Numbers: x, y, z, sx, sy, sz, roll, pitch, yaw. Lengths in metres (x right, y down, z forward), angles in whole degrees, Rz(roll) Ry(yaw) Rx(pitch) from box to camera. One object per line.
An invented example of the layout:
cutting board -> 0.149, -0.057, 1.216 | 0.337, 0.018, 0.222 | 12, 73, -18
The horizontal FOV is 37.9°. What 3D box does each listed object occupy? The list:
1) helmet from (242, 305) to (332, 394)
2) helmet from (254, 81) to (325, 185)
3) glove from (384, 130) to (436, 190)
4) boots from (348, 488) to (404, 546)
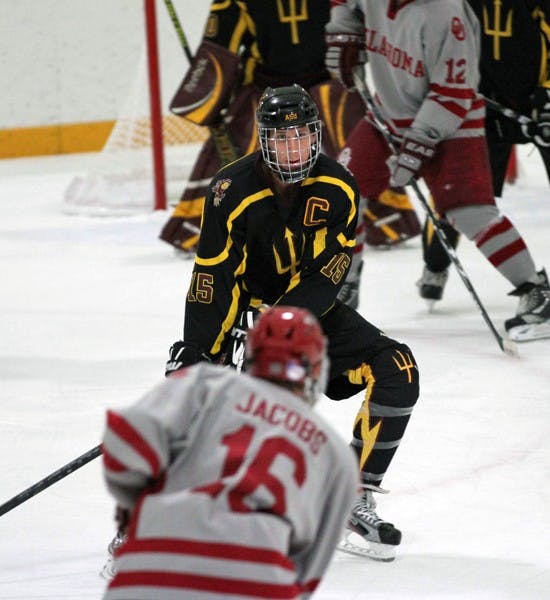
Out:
helmet -> 0.017, 0.100, 1.215 | 0.118, 0.191, 0.137 | 2, 27, 2
helmet -> 0.030, -0.391, 1.895 | 0.152, 0.222, 0.215 | 2, 26, 1
glove -> 0.462, -0.508, 2.992 | 0.215, 0.131, 0.083 | -24, -5, -41
boots -> 0.224, 0.513, 1.873 | 0.057, 0.092, 0.174 | 17, -8, -38
